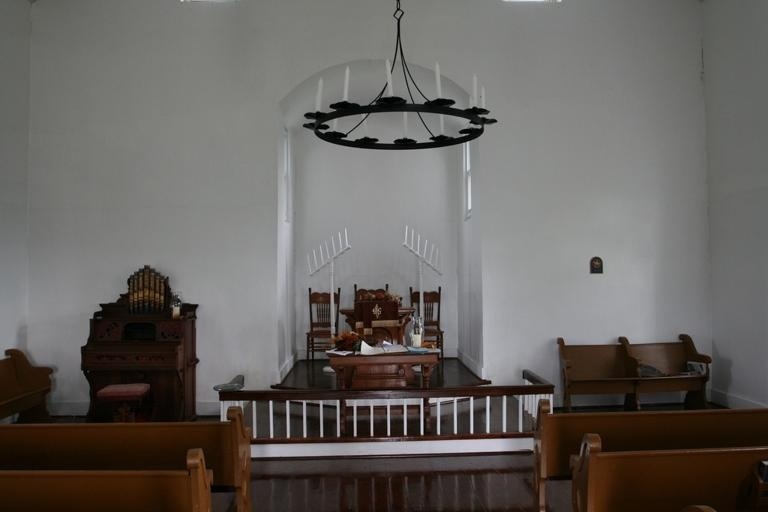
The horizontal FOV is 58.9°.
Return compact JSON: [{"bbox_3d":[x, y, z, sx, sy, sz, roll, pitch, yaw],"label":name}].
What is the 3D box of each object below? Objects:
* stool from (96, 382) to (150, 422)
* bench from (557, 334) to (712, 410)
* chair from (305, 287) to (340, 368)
[{"bbox_3d":[-3.921,2.248,10.336,0.850,0.589,0.887,-6,-8,26],"label":"stool"},{"bbox_3d":[3.935,1.933,10.927,2.160,1.261,0.977,-2,-2,-1],"label":"bench"},{"bbox_3d":[-1.168,1.285,12.985,0.682,1.382,1.242,0,-5,-2],"label":"chair"}]
